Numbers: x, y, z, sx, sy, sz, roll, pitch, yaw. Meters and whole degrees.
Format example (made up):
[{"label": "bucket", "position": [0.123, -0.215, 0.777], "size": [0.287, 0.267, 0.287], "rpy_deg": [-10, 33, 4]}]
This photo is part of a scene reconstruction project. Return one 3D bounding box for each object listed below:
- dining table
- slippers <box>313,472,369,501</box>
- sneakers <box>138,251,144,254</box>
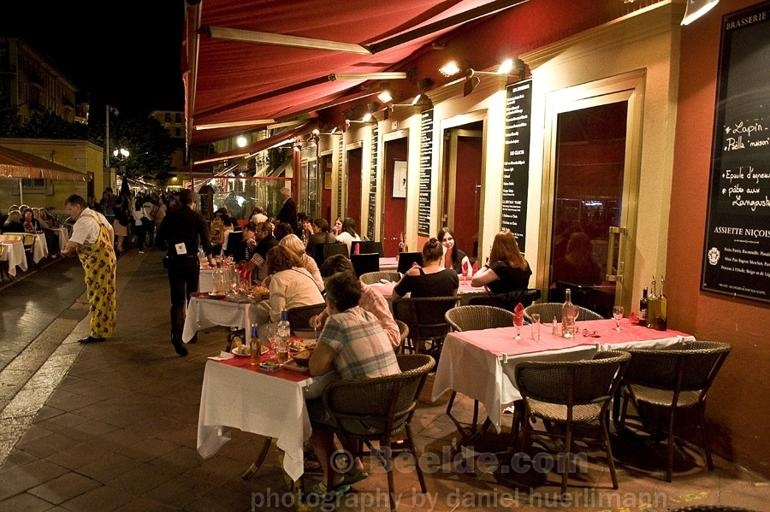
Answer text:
[{"label": "dining table", "position": [-0.965, 1.132, 4.386], "size": [0.998, 0.652, 1.233], "rpy_deg": [20, 7, 17]}, {"label": "slippers", "position": [-0.390, 1.921, 4.384], "size": [0.231, 0.086, 0.216], "rpy_deg": [6, 2, -28]}, {"label": "sneakers", "position": [-8.419, -0.145, 17.839], "size": [0.103, 0.121, 0.300], "rpy_deg": [-2, -2, -35]}]
